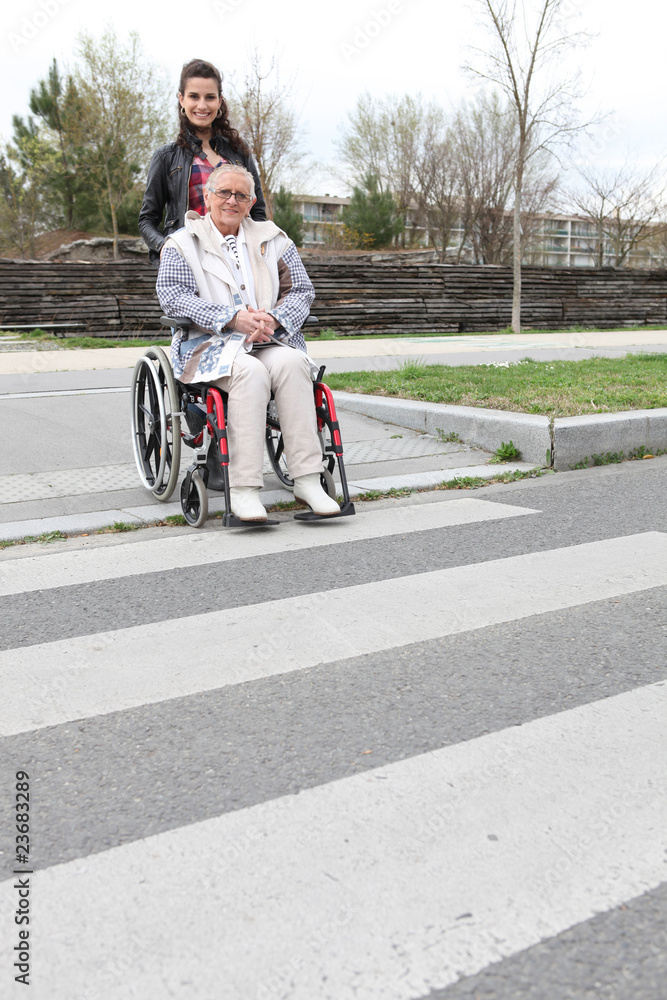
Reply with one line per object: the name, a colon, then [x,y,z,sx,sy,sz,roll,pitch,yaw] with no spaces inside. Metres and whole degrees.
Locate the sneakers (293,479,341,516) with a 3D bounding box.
sneakers: [-0.079,-0.006,4.587,0.090,0.154,0.300,-4,4,-23]

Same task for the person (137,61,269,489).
person: [-0.560,-1.048,4.961,0.472,2.095,0.524,-4,-2,-16]

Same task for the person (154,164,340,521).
person: [-0.371,-0.690,4.577,0.740,1.562,0.647,-4,8,-26]

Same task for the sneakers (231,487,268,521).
sneakers: [-0.365,0.025,4.387,0.146,0.150,0.127,-1,8,-7]
